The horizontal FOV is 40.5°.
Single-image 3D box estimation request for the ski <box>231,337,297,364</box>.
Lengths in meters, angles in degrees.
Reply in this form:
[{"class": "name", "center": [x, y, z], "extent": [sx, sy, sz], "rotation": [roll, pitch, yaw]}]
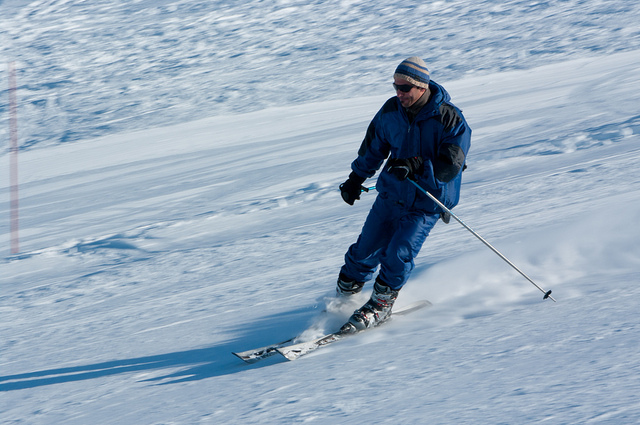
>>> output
[{"class": "ski", "center": [-0.690, 1.864, 11.705], "extent": [0.845, 0.138, 0.269], "rotation": [-11, 18, -19]}]
